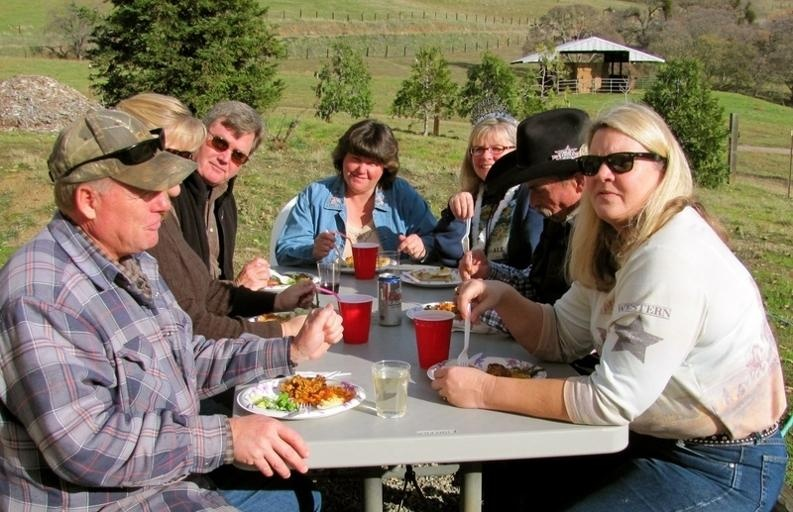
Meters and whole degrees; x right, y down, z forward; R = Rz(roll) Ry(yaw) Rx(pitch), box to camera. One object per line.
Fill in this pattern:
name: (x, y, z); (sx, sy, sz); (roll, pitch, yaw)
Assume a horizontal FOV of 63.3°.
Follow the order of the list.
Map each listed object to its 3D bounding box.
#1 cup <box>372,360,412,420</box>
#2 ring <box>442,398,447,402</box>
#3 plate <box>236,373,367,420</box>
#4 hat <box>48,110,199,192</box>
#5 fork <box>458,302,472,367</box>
cup: (-0.023, 0.584, 2.822); (0.219, 0.251, 0.216); (0, -1, 0)
ring: (0.224, 0.658, 2.950); (0.017, 0.009, 0.024); (2, -3, 1)
plate: (-0.449, 0.670, 2.984); (0.327, 0.035, 0.286); (-5, 12, -35)
hat: (-1.204, -0.453, 2.845); (0.517, 0.260, 0.363); (0, 18, -16)
fork: (0.357, 0.377, 3.296); (0.062, 0.370, 0.053); (4, -19, -13)
